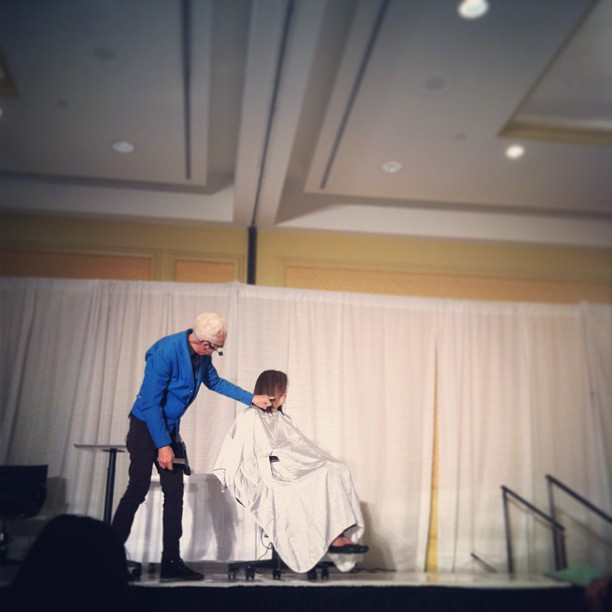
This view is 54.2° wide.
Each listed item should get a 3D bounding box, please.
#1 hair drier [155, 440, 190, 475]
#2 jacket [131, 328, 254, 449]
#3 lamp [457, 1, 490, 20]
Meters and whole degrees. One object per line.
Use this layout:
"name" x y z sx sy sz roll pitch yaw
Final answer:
"hair drier" -0.668 0.792 3.103 0.220 0.202 0.082 -1 9 -13
"jacket" -0.662 0.467 3.273 0.299 0.615 0.626 -4 -14 23
"lamp" 0.930 -1.649 3.327 0.177 0.040 0.107 3 -13 -9
